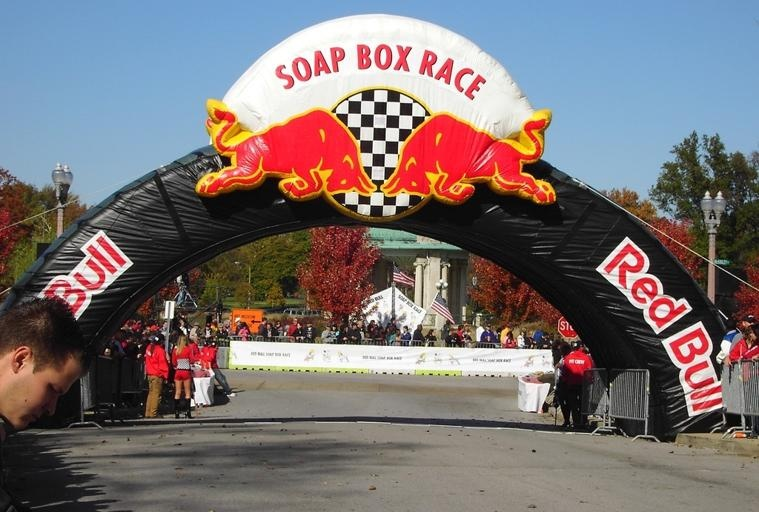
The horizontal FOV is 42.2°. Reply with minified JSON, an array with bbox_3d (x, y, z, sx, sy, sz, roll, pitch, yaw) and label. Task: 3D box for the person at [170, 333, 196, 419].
[{"bbox_3d":[-4.686,2.851,23.417,0.480,1.969,1.027,1,-1,-12],"label":"person"}]
